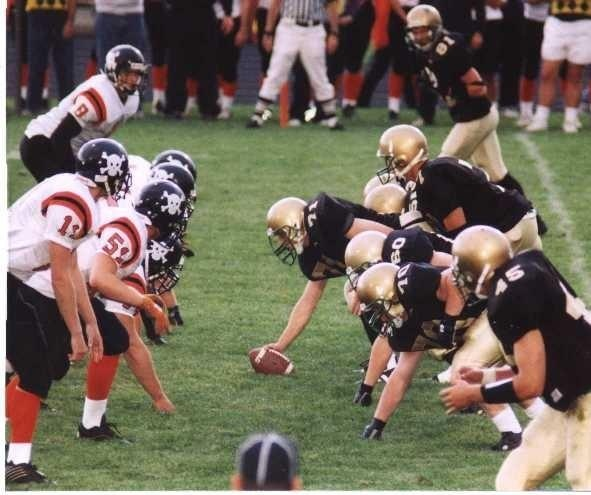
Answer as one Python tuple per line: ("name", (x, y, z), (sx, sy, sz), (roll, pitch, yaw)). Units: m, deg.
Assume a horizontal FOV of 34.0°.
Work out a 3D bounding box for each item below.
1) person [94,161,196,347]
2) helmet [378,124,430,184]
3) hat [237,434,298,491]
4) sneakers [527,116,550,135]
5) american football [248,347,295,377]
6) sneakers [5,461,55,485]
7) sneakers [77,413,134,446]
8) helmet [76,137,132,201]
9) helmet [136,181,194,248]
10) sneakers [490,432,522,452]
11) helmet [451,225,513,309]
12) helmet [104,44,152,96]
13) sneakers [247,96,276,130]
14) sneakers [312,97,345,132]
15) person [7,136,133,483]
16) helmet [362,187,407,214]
("person", (-0.758, 0.015, 4.741), (0.373, 1.049, 0.359), (-2, 50, -10))
("helmet", (0.589, -0.587, 5.434), (0.282, 0.339, 0.289), (13, 34, 13))
("hat", (-0.083, 0.616, 2.868), (0.137, 0.180, 0.058), (2, -2, -3))
("sneakers", (2.248, -1.143, 8.970), (0.256, 0.185, 0.092), (-2, 20, 2))
("american football", (-0.132, 0.591, 5.054), (0.182, 0.088, 0.140), (15, 16, -16))
("sneakers", (-1.107, 0.947, 4.053), (0.206, 0.092, 0.071), (2, 1, -10))
("sneakers", (-0.881, 0.857, 4.527), (0.288, 0.133, 0.107), (3, 1, -13))
("helmet", (-0.883, -0.380, 4.423), (0.291, 0.294, 0.217), (-5, 23, -40))
("helmet", (-0.680, -0.200, 4.689), (0.238, 0.327, 0.326), (14, 20, 33))
("sneakers", (0.970, 0.888, 4.415), (0.175, 0.130, 0.062), (-3, -12, 16))
("helmet", (0.743, 0.072, 3.890), (0.205, 0.294, 0.287), (-23, 22, -3))
("helmet", (-1.007, -1.009, 5.393), (0.266, 0.277, 0.203), (12, 7, -9))
("sneakers", (-0.163, -0.586, 4.195), (0.095, 0.088, 0.156), (29, 64, 7))
("sneakers", (0.280, -1.149, 8.201), (0.215, 0.138, 0.430), (-5, -28, 3))
("person", (-1.026, 0.248, 4.240), (0.512, 1.372, 0.705), (2, 15, -10))
("helmet", (0.491, -0.273, 5.203), (0.183, 0.172, 0.170), (2, 15, -7))
